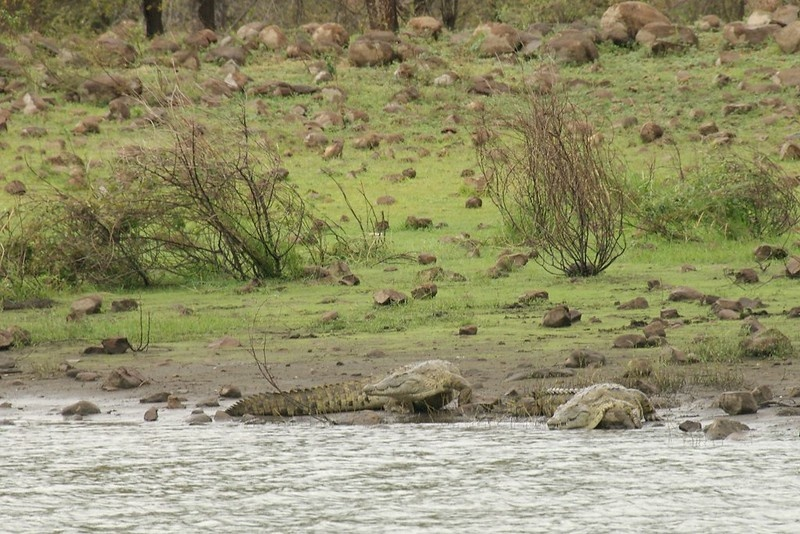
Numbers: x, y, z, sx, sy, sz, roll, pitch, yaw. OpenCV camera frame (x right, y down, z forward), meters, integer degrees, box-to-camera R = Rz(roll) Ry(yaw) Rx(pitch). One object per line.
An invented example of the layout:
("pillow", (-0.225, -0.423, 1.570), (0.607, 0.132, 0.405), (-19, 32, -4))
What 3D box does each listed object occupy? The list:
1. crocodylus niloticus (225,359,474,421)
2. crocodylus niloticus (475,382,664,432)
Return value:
("crocodylus niloticus", (-0.774, 1.804, 31.744), (3.533, 0.726, 1.525), (-3, 2, 4))
("crocodylus niloticus", (2.994, 2.343, 31.122), (2.515, 0.759, 0.622), (-8, 8, 14))
